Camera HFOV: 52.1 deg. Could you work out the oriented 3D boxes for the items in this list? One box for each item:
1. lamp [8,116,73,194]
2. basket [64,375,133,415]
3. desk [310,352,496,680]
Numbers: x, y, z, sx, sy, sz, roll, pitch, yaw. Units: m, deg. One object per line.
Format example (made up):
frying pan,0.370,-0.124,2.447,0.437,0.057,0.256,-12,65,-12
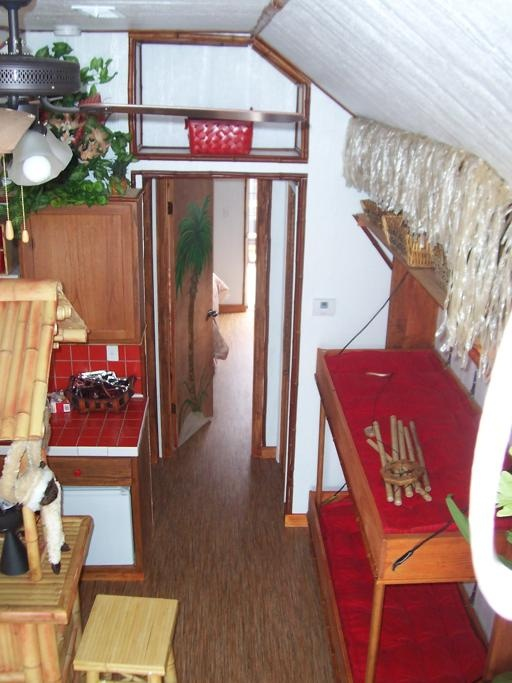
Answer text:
lamp,-0.747,-0.641,1.808,0.213,0.189,0.194,-6,19,-26
basket,-1.065,0.335,3.511,0.307,0.148,0.282,-3,54,-5
desk,0.838,0.929,2.943,0.788,1.250,1.693,1,17,-3
